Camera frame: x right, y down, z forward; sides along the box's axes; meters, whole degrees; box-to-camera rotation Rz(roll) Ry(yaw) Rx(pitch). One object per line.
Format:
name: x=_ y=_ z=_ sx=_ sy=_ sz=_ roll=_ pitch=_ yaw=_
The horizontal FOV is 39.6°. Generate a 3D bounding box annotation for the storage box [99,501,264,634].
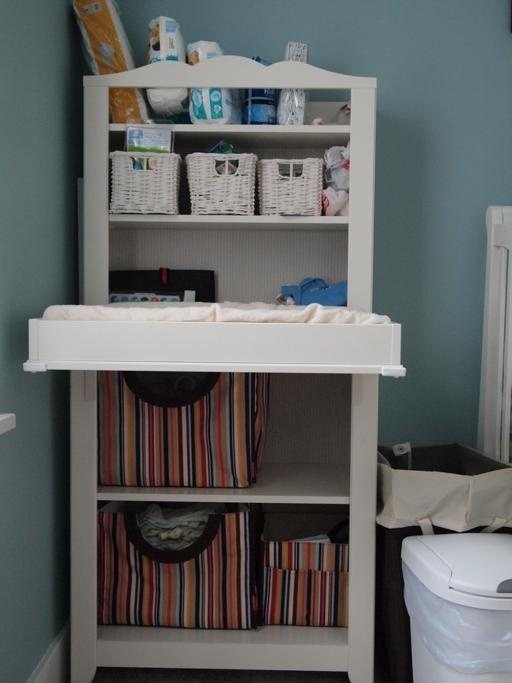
storage box: x=-0.211 y=0.564 z=1.971 sx=0.485 sy=0.299 sz=0.478 roll=1 pitch=3 yaw=13

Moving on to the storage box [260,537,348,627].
storage box: x=0.127 y=0.605 z=1.877 sx=0.205 sy=0.218 sz=0.219 roll=1 pitch=-5 yaw=3

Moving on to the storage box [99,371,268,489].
storage box: x=-0.176 y=0.237 z=1.881 sx=0.408 sy=0.312 sz=0.228 roll=-2 pitch=-12 yaw=11

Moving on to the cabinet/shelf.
cabinet/shelf: x=-0.081 y=0.090 z=1.728 sx=0.829 sy=1.577 sz=0.989 roll=0 pitch=5 yaw=11

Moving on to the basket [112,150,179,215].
basket: x=-0.314 y=-0.372 z=1.869 sx=0.175 sy=0.158 sz=0.251 roll=-2 pitch=-10 yaw=-19

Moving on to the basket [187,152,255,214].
basket: x=-0.079 y=-0.422 z=1.820 sx=0.174 sy=0.127 sz=0.150 roll=-4 pitch=11 yaw=-4

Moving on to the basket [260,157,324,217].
basket: x=0.089 y=-0.382 z=1.774 sx=0.143 sy=0.128 sz=0.150 roll=1 pitch=5 yaw=4
